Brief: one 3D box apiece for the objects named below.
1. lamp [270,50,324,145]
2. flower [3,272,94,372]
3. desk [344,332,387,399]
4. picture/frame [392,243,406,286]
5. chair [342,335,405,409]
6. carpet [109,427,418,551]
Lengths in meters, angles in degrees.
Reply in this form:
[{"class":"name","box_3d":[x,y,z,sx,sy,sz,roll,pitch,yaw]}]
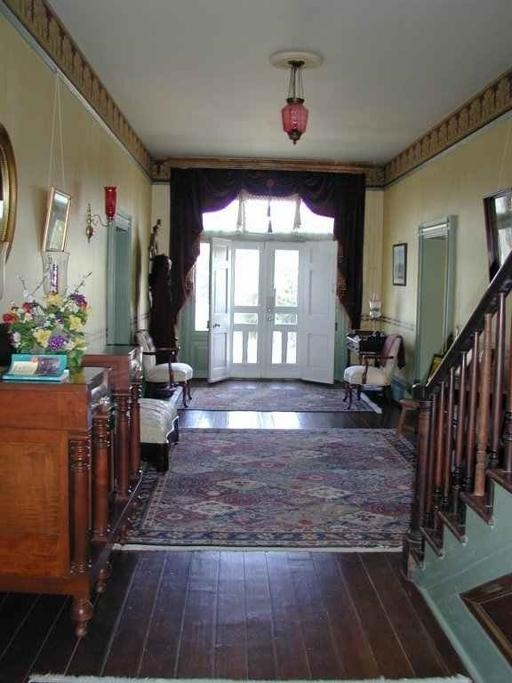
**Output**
[{"class":"lamp","box_3d":[0.345,-2.097,4.244,0.427,0.781,0.946,2,0,3]},{"class":"flower","box_3d":[-0.865,-0.054,1.988,0.325,0.390,0.261,2,0,-23]},{"class":"desk","box_3d":[1.669,0.385,7.200,0.320,0.654,0.929,1,9,1]},{"class":"picture/frame","box_3d":[2.240,-1.194,7.458,0.017,0.679,0.631,2,10,32]},{"class":"chair","box_3d":[1.742,0.415,7.227,0.992,1.298,0.924,1,5,0]},{"class":"carpet","box_3d":[0.241,1.152,3.857,2.356,0.130,2.259,2,0,0]}]
